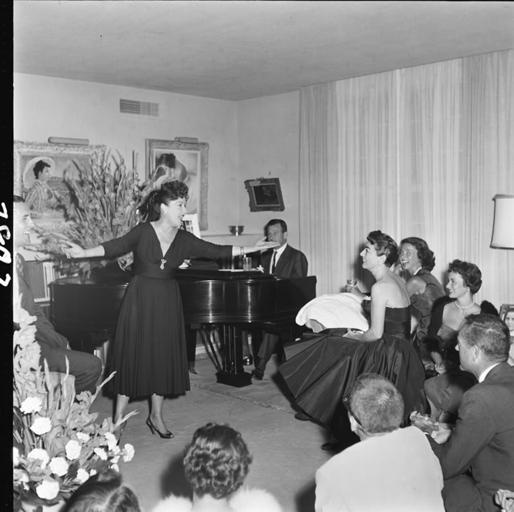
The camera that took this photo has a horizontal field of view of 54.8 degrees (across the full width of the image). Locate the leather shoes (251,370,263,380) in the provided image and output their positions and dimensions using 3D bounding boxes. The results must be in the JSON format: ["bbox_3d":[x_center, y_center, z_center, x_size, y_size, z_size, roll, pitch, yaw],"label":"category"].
[{"bbox_3d":[0.003,1.300,5.401,0.083,0.097,0.113,2,-9,-20],"label":"leather shoes"}]

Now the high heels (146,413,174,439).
[{"bbox_3d":[-0.734,1.316,3.817,0.277,0.153,0.099,8,4,36],"label":"high heels"}]

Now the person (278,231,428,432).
[{"bbox_3d":[0.744,0.555,3.810,0.943,1.448,0.773,5,0,18],"label":"person"}]

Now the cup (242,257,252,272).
[{"bbox_3d":[-0.118,0.079,5.380,0.088,0.176,0.161,0,0,-4],"label":"cup"}]

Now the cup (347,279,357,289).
[{"bbox_3d":[0.925,0.277,4.871,0.074,0.064,0.080,-1,1,0],"label":"cup"}]
